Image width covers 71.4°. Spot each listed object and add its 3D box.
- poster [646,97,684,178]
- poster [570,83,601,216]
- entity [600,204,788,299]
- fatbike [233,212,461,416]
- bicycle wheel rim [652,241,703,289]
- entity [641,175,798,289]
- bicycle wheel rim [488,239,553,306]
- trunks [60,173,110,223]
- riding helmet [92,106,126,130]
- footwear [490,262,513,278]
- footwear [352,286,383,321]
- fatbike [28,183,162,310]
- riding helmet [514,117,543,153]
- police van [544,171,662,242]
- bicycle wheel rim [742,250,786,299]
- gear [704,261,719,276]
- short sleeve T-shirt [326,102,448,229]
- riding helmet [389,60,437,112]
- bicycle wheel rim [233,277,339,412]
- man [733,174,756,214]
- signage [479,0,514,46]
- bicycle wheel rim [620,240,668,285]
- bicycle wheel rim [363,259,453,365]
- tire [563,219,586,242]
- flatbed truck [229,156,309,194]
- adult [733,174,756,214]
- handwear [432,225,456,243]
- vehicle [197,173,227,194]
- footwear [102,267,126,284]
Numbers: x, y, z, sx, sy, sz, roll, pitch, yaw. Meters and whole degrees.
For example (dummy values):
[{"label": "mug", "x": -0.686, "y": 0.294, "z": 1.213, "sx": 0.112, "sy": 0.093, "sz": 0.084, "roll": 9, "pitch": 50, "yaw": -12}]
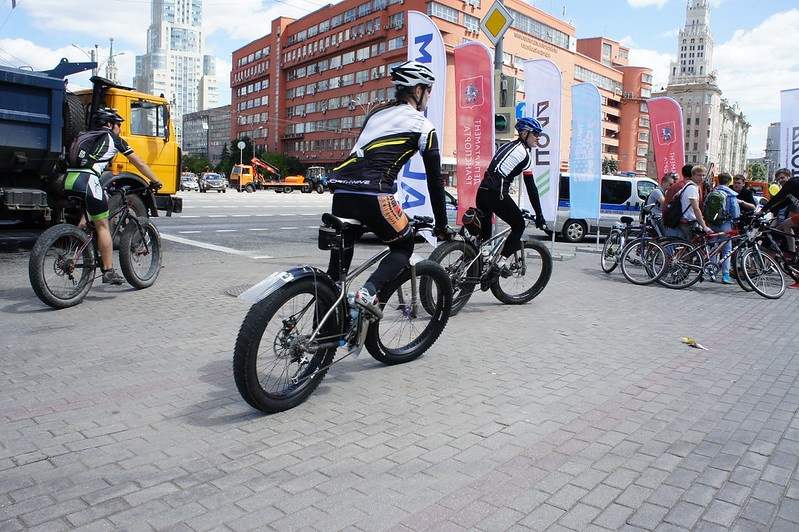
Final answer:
[{"label": "poster", "x": 7.654, "y": -3.699, "z": 16.119, "sx": 1.083, "sy": 2.341, "sz": 1.733, "roll": 8, "pitch": 15, "yaw": 22}, {"label": "poster", "x": 4.842, "y": -2.962, "z": 14.493, "sx": 1.001, "sy": 3.420, "sz": 0.575, "roll": 8, "pitch": 15, "yaw": 21}, {"label": "entity", "x": 5.904, "y": -0.114, "z": 11.389, "sx": 2.979, "sy": 1.679, "sz": 1.461, "roll": 11, "pitch": -12, "yaw": 16}, {"label": "fatbike", "x": -0.418, "y": 0.359, "z": 5.454, "sx": 1.317, "sy": 1.658, "sz": 2.944, "roll": 12, "pitch": 11, "yaw": 34}, {"label": "bicycle wheel rim", "x": 5.411, "y": -0.112, "z": 10.866, "sx": 0.886, "sy": 0.200, "sz": 0.902, "roll": 32, "pitch": 58, "yaw": 31}, {"label": "entity", "x": 6.134, "y": -0.524, "z": 11.203, "sx": 3.491, "sy": 2.039, "sz": 1.776, "roll": 5, "pitch": 1, "yaw": -6}, {"label": "bicycle wheel rim", "x": 1.891, "y": 0.065, "z": 8.747, "sx": 1.177, "sy": 1.148, "sz": 0.312, "roll": -24, "pitch": -22, "yaw": 39}, {"label": "trunks", "x": -4.219, "y": -0.954, "z": 7.504, "sx": 0.583, "sy": 0.638, "sz": 0.288, "roll": 7, "pitch": 15, "yaw": 18}, {"label": "riding helmet", "x": -4.137, "y": -2.115, "z": 7.943, "sx": 0.412, "sy": 0.251, "sz": 0.293, "roll": -6, "pitch": 32, "yaw": -19}, {"label": "footwear", "x": 1.461, "y": 0.063, "z": 8.085, "sx": 0.162, "sy": 0.197, "sz": 0.457, "roll": 7, "pitch": 4, "yaw": 44}, {"label": "footwear", "x": -0.247, "y": 0.350, "z": 5.116, "sx": 0.144, "sy": 0.165, "sz": 0.393, "roll": 5, "pitch": -23, "yaw": 44}, {"label": "fatbike", "x": -4.147, "y": -0.366, "z": 7.883, "sx": 1.150, "sy": 1.588, "sz": 2.706, "roll": 4, "pitch": 8, "yaw": 8}, {"label": "riding helmet", "x": 1.885, "y": -1.911, "z": 8.117, "sx": 0.497, "sy": 0.458, "sz": 0.390, "roll": -5, "pitch": 1, "yaw": 21}, {"label": "police van", "x": 7.492, "y": -1.668, "z": 18.984, "sx": 5.172, "sy": 2.512, "sz": 2.896, "roll": -1, "pitch": 2, "yaw": 2}, {"label": "bicycle wheel rim", "x": 6.692, "y": 0.126, "z": 10.272, "sx": 0.511, "sy": 0.779, "sz": 0.744, "roll": -7, "pitch": 17, "yaw": -34}, {"label": "gear", "x": 6.047, "y": 0.019, "z": 10.884, "sx": 0.336, "sy": 0.315, "sz": 0.111, "roll": 32, "pitch": -6, "yaw": -32}, {"label": "short sleeve T-shirt", "x": -0.153, "y": -1.018, "z": 5.515, "sx": 1.112, "sy": 1.226, "sz": 0.957, "roll": 9, "pitch": 8, "yaw": -38}, {"label": "riding helmet", "x": 0.084, "y": -1.759, "z": 5.477, "sx": 0.498, "sy": 0.439, "sz": 0.382, "roll": -11, "pitch": 12, "yaw": -5}, {"label": "bicycle wheel rim", "x": -0.946, "y": 0.687, "z": 4.719, "sx": 0.286, "sy": 0.825, "sz": 0.888, "roll": 19, "pitch": 41, "yaw": 35}, {"label": "man", "x": 8.570, "y": -1.743, "z": 13.979, "sx": 0.519, "sy": 1.172, "sz": 0.364, "roll": -15, "pitch": -41, "yaw": 44}, {"label": "signage", "x": 2.090, "y": -5.130, "z": 11.660, "sx": 0.718, "sy": 0.866, "sz": 0.613, "roll": 11, "pitch": 16, "yaw": 31}, {"label": "bicycle wheel rim", "x": 4.861, "y": -0.083, "z": 11.135, "sx": 0.864, "sy": 0.833, "sz": 0.881, "roll": -5, "pitch": 0, "yaw": 35}, {"label": "bicycle wheel rim", "x": 0.075, "y": 0.484, "z": 5.793, "sx": 1.237, "sy": 1.175, "sz": 0.282, "roll": 6, "pitch": 13, "yaw": -46}, {"label": "tire", "x": 5.961, "y": -1.248, "z": 18.958, "sx": 0.636, "sy": 0.609, "sz": 0.224, "roll": -20, "pitch": 2, "yaw": 1}, {"label": "flatbed truck", "x": -13.495, "y": -9.972, "z": 61.538, "sx": 10.730, "sy": 4.698, "sz": 4.193, "roll": 0, "pitch": 4, "yaw": -36}, {"label": "adult", "x": 8.582, "y": -1.751, "z": 14.064, "sx": 0.354, "sy": 1.136, "sz": 0.507, "roll": 42, "pitch": -32, "yaw": -20}, {"label": "handwear", "x": 0.456, "y": -0.323, "z": 5.654, "sx": 0.132, "sy": 0.167, "sz": 0.316, "roll": 12, "pitch": 17, "yaw": 41}, {"label": "vehicle", "x": -18.945, "y": -8.289, "z": 55.972, "sx": 2.091, "sy": 1.596, "sz": 3.347, "roll": 0, "pitch": 0, "yaw": -29}, {"label": "footwear", "x": -3.968, "y": 0.149, "z": 7.793, "sx": 0.153, "sy": 0.231, "sz": 0.415, "roll": 8, "pitch": 6, "yaw": 41}]
